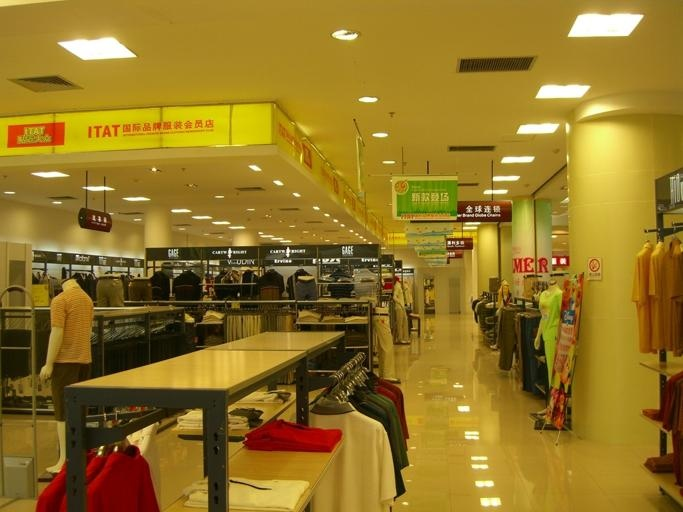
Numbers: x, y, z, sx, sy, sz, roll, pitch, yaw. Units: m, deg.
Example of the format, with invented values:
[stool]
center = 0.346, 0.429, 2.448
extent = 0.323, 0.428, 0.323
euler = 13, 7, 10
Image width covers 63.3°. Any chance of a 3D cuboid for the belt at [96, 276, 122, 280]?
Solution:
[belt]
center = -3.939, 0.365, 9.379
extent = 0.307, 0.076, 0.168
euler = 1, 0, -20
